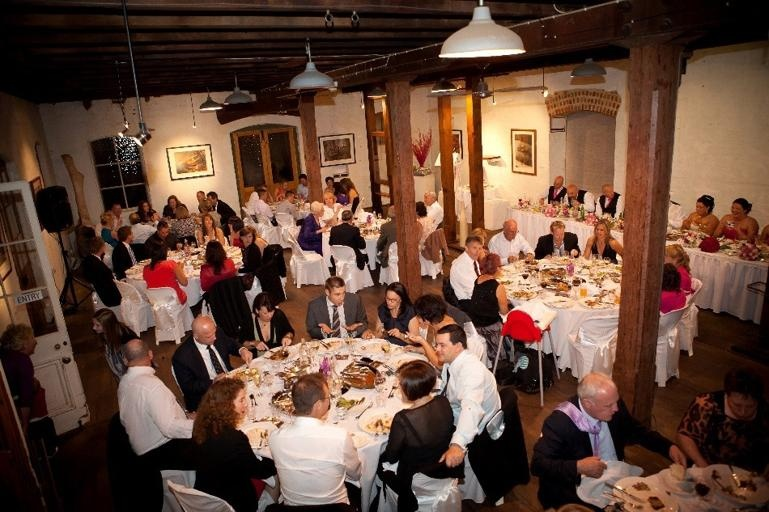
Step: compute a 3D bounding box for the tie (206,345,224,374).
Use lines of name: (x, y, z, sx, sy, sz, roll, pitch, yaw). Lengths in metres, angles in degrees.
tie: (-1.861, 1.159, 5.679, 0.076, 0.435, 0.048, -23, -9, -28)

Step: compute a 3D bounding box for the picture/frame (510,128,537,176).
picture/frame: (3.546, -2.693, 13.270, 0.092, 1.490, 1.094, -9, 12, -29)

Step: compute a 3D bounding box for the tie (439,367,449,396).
tie: (0.576, 1.234, 5.191, 0.092, 0.271, 0.223, -5, 10, -6)

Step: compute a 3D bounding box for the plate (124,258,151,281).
plate: (-4.235, 0.255, 8.809, 0.439, 0.121, 0.454, 6, 16, 18)

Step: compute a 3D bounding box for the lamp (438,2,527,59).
lamp: (0.749, -1.811, 4.318, 0.530, 0.586, 0.540, -4, 25, -1)

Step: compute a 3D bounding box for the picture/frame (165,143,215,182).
picture/frame: (-5.213, -2.483, 13.642, 0.965, 0.768, 0.071, -10, 14, -35)
